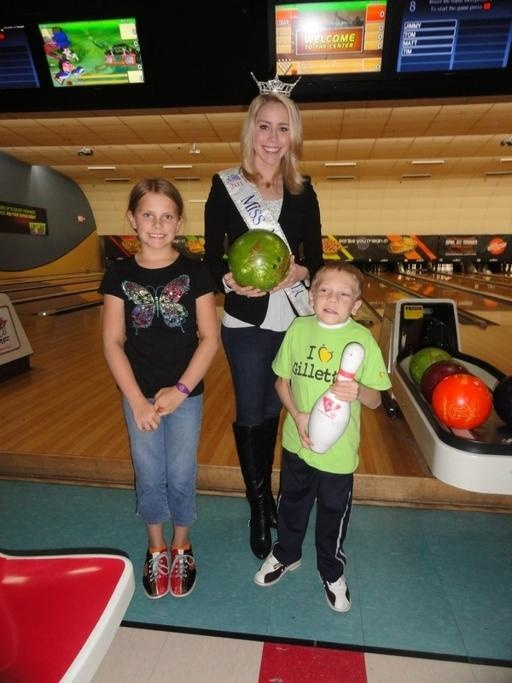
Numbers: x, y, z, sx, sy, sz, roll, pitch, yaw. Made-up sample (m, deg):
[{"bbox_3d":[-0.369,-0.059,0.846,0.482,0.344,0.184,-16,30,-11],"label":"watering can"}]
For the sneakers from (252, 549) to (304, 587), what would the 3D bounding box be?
[{"bbox_3d":[0.062,0.618,1.345,0.158,0.071,0.057,-8,10,-44],"label":"sneakers"}]

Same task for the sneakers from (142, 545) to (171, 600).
[{"bbox_3d":[-0.266,0.615,1.264,0.055,0.051,0.133,0,12,-10],"label":"sneakers"}]

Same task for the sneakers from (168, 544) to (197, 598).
[{"bbox_3d":[-0.206,0.611,1.272,0.050,0.047,0.132,0,19,-7],"label":"sneakers"}]
